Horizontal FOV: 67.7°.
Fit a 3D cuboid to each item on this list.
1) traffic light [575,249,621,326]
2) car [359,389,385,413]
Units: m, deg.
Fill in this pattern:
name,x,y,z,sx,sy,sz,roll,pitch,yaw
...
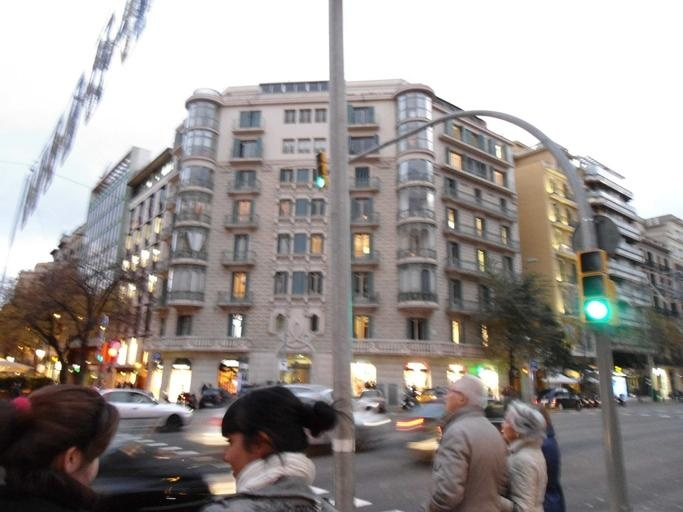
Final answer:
name,x,y,z,sx,sy,sz,roll,pitch,yaw
traffic light,3.760,0.486,7.563,0.476,1.137,0.359,-9,-21,23
car,1.526,7.654,27.081,1.971,1.233,4.010,-2,-20,6
